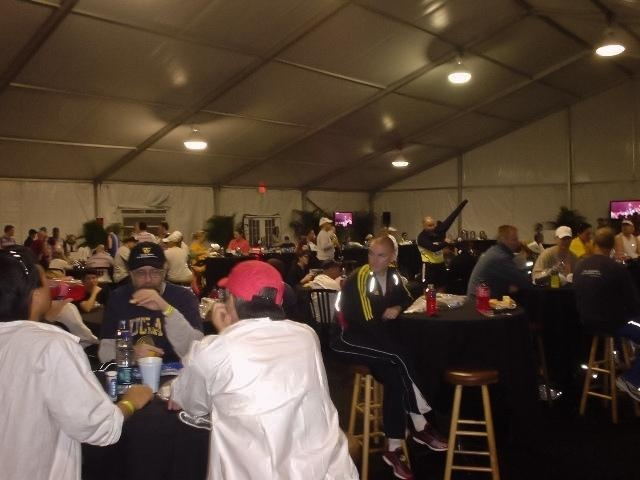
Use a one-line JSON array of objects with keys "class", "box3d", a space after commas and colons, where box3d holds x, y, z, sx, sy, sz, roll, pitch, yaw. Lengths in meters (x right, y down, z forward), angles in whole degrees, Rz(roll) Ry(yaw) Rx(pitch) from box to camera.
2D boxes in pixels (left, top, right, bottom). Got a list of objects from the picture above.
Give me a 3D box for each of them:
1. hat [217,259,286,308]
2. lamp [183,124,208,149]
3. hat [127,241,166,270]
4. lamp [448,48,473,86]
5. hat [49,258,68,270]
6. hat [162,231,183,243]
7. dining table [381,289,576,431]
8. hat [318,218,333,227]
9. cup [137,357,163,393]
[{"class": "hat", "box3d": [-0.329, 0.172, 2.464, 0.188, 0.143, 0.259, -1, 21, -38]}, {"class": "lamp", "box3d": [-2.484, -2.015, 10.125, 0.483, 0.520, 0.511, 1, 6, 5]}, {"class": "hat", "box3d": [-1.172, 0.102, 3.470, 0.236, 0.181, 0.192, -4, 14, -19]}, {"class": "lamp", "box3d": [2.743, -3.399, 9.953, 0.349, 0.641, 1.428, 5, 14, 15]}, {"class": "hat", "box3d": [-3.705, 0.336, 7.242, 0.199, 0.123, 0.199, 8, 5, 16]}, {"class": "hat", "box3d": [-2.922, -0.062, 10.031, 0.385, 0.217, 0.263, 6, 9, 5]}, {"class": "dining table", "box3d": [1.386, 0.894, 4.714, 1.333, 0.971, 1.426, -4, -6, -7]}, {"class": "hat", "box3d": [0.097, -0.499, 12.712, 0.350, 0.130, 0.261, -22, -7, 42]}, {"class": "cup", "box3d": [-0.915, 0.762, 2.874, 0.160, 0.194, 0.167, -3, -12, -1]}]
